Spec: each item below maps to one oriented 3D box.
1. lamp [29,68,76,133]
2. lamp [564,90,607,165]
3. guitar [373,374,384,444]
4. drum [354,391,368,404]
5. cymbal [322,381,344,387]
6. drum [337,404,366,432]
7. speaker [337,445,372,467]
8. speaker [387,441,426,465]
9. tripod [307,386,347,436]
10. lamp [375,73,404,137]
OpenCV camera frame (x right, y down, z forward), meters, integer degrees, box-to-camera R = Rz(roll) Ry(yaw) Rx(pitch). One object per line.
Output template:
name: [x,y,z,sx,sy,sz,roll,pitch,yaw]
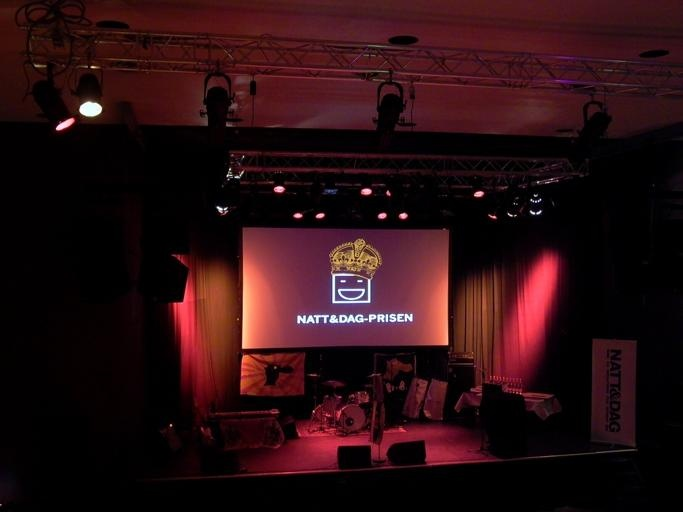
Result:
lamp: [-2.873,-1.505,6.477,0.468,0.555,0.232,2,-4,10]
lamp: [3.282,-1.655,8.488,0.489,0.832,1.368,1,-5,22]
guitar: [0.521,2.194,9.189,0.166,1.012,0.403,2,-4,4]
drum: [0.321,2.271,10.481,0.261,0.166,0.233,2,3,-26]
cymbal: [-0.128,2.103,10.582,0.356,0.093,0.236,3,-5,-1]
drum: [0.149,2.569,10.249,0.499,0.515,0.279,0,-3,-4]
speaker: [0.168,2.677,8.593,0.459,0.318,0.260,0,-11,-3]
speaker: [0.892,2.672,8.712,0.419,0.298,0.324,4,-7,-24]
tripod: [-0.256,2.639,11.003,0.684,0.897,0.839,3,-7,-4]
lamp: [0.580,-1.853,7.716,0.315,0.674,0.931,2,-5,2]
